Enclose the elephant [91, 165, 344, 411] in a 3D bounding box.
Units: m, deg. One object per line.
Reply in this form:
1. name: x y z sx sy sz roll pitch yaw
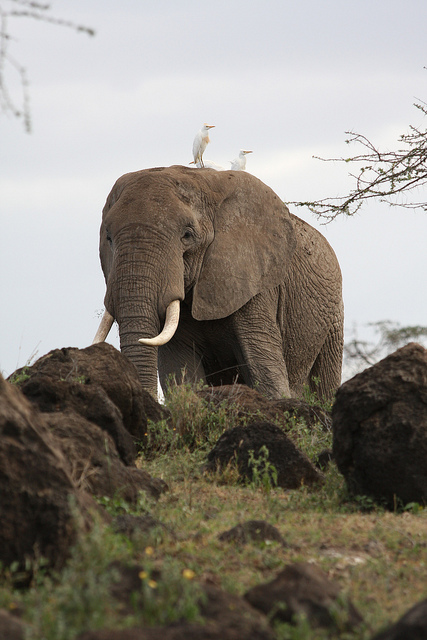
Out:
1. elephant: 0.080 -0.453 10.732 1.548 2.565 4.373 9 2 26
